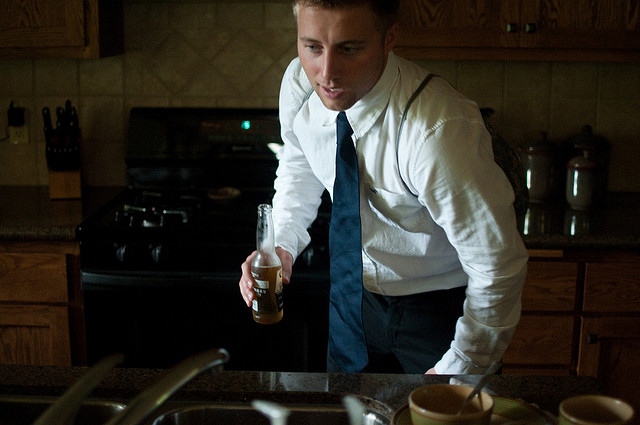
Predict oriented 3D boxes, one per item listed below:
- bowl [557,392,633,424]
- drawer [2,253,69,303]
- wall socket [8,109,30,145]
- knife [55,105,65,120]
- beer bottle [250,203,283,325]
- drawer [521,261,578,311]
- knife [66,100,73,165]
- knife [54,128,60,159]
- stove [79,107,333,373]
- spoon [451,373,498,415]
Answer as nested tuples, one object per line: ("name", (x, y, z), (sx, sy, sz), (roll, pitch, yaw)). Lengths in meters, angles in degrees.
("bowl", (0.597, 0.402, 1.357), (0.073, 0.074, 0.111), (-9, 3, -30))
("drawer", (-1.166, 0.265, 2.576), (0.298, 0.190, 0.057), (0, 8, 2))
("wall socket", (-1.503, -0.418, 3.127), (0.116, 0.158, 0.039), (-1, 9, -5))
("knife", (-1.226, -0.464, 2.966), (0.035, 0.056, 0.075), (-4, 8, -23))
("beer bottle", (-0.162, 0.148, 1.923), (0.098, 0.355, 0.096), (2, 5, 0))
("drawer", (0.914, 0.280, 2.489), (0.269, 0.241, 0.136), (1, 6, 4))
("knife", (-1.180, -0.372, 2.954), (0.032, 0.292, 0.093), (-4, 8, -21))
("knife", (-1.222, -0.313, 2.911), (0.024, 0.132, 0.022), (-4, 8, -22))
("stove", (-0.481, 0.072, 2.807), (1.056, 1.076, 0.754), (-1, 8, 1))
("spoon", (0.358, 0.420, 1.450), (0.153, 0.021, 0.021), (-44, 1, -5))
